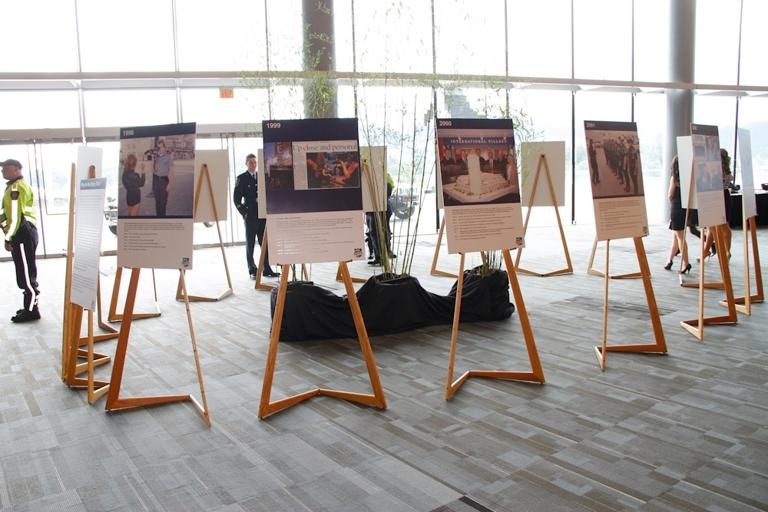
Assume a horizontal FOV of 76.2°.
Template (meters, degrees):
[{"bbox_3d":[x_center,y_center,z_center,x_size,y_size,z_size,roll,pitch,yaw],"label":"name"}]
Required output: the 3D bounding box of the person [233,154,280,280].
[{"bbox_3d":[-2.264,-0.678,8.377,0.508,2.107,0.525,-2,9,3],"label":"person"}]

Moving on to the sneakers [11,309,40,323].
[{"bbox_3d":[-4.767,0.786,6.462,0.314,0.149,0.259,-6,9,-25],"label":"sneakers"}]

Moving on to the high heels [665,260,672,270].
[{"bbox_3d":[4.854,0.156,8.318,0.083,0.099,0.249,5,18,16],"label":"high heels"}]
